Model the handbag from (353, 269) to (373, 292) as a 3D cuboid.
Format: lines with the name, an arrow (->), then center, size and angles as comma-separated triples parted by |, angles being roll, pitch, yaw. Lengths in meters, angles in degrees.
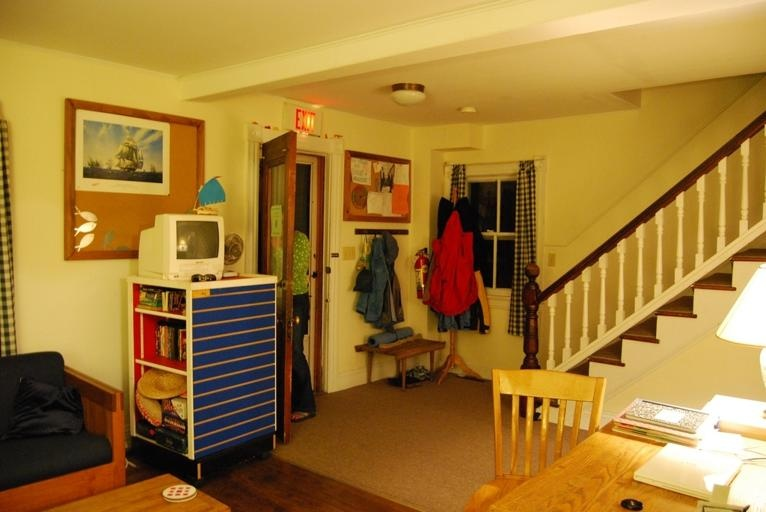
handbag -> -0.234, 0.292, 6.736 | 0.216, 0.280, 0.151 | 1, 10, -3

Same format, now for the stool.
stool -> 0.185, 1.129, 6.875 | 0.571, 0.427, 0.861 | 1, 3, 34

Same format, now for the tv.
tv -> -1.679, -0.073, 4.878 | 0.566, 0.510, 0.535 | 2, 3, 39

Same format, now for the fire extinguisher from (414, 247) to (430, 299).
fire extinguisher -> 0.476, 0.234, 7.145 | 0.175, 0.628, 0.303 | 2, 10, 4

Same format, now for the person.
person -> -0.881, 0.451, 5.884 | 0.202, 1.689, 0.424 | -12, -25, 21

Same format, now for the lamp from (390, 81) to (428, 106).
lamp -> 0.221, -1.520, 5.446 | 0.209, 0.105, 0.211 | 1, 2, 38

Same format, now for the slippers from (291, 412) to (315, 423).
slippers -> -0.830, 1.606, 5.823 | 0.078, 0.053, 0.195 | 3, 0, 44
